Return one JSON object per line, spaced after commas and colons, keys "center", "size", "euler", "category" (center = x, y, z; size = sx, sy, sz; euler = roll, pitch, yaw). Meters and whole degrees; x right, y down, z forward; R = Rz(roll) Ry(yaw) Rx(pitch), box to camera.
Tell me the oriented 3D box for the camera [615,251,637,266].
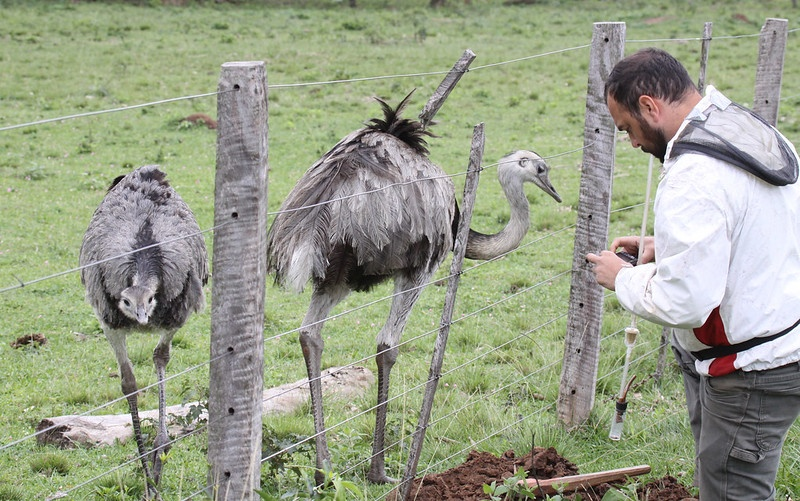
{"center": [2.593, 0.068, 13.695], "size": [0.192, 0.059, 0.200], "euler": [25, 13, 25], "category": "camera"}
